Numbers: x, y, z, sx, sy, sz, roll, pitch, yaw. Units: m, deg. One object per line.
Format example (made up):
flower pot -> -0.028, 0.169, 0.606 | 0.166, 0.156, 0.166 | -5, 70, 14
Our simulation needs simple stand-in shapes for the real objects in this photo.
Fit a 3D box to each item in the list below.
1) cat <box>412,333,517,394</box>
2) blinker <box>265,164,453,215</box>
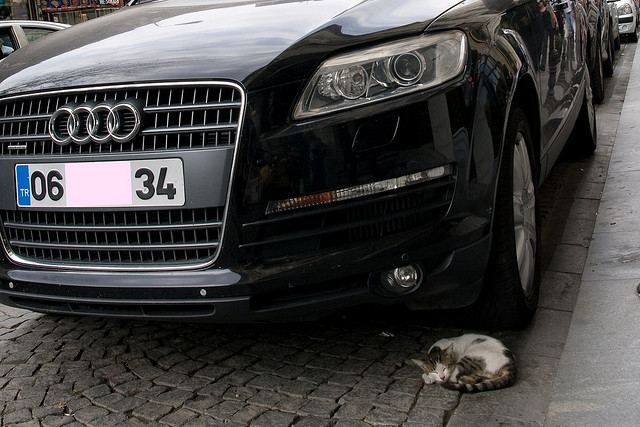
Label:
cat -> 0.715, 0.720, 2.374 | 0.394, 0.193, 0.341 | -17, 17, -28
blinker -> 0.125, -0.106, 2.101 | 0.628, 0.062, 0.060 | -14, 58, -2
